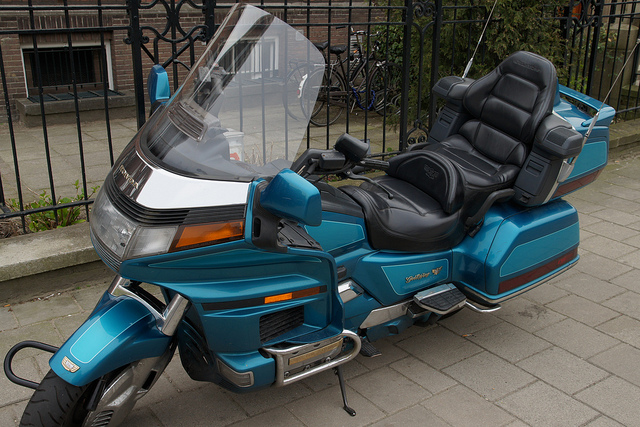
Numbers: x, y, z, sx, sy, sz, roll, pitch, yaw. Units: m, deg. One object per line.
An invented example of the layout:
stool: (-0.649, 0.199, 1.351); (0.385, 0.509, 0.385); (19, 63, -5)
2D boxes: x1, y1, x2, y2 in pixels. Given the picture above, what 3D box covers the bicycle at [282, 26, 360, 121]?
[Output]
bicycle: (0.228, -2.392, 8.257); (1.134, 1.518, 2.589); (21, 17, 0)
